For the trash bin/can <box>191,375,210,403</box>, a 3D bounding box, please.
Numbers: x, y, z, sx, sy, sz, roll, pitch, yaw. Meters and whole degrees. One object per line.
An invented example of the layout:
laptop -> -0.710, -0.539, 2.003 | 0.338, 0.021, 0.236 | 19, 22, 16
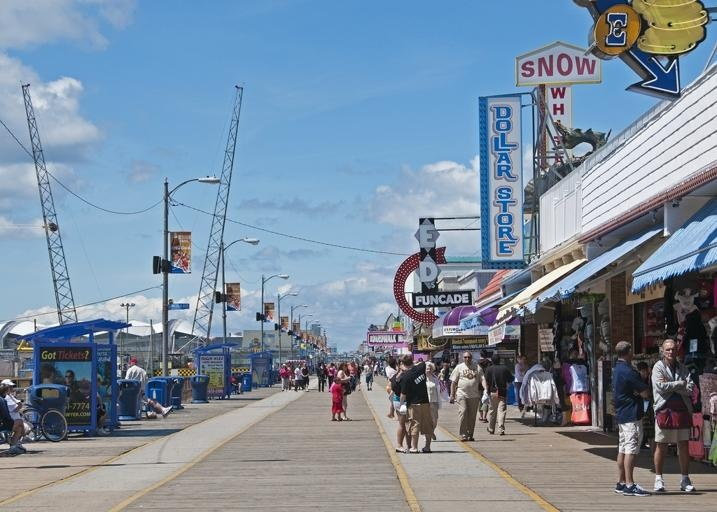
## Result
trash bin/can -> -6.836, 5.739, 53.473 | 0.723, 1.244, 1.154 | 0, -11, -10

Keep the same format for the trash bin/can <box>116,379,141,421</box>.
trash bin/can -> -7.522, 4.742, 40.644 | 0.702, 1.315, 1.207 | 1, -11, -12

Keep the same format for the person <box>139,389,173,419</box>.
person -> -6.884, 5.090, 42.076 | 1.615, 0.519, 0.856 | -9, -34, 26

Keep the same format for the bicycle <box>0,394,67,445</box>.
bicycle -> -8.607, 4.577, 33.220 | 1.801, 1.110, 0.913 | -5, 1, -15

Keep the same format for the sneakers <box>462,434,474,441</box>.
sneakers -> 2.832, 4.754, 32.525 | 0.354, 0.243, 0.120 | -2, 1, -5

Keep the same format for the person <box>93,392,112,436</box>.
person -> -7.427, 4.645, 36.097 | 0.384, 1.201, 1.420 | 1, -11, -11

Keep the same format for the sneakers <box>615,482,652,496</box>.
sneakers -> 5.425, 4.587, 24.440 | 0.651, 0.261, 0.242 | 1, 2, 1

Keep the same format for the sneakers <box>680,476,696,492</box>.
sneakers -> 6.540, 4.547, 24.585 | 0.301, 0.293, 0.260 | -2, -11, 4

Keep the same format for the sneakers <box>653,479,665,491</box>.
sneakers -> 5.977, 4.572, 24.642 | 0.191, 0.262, 0.316 | -4, -11, 13

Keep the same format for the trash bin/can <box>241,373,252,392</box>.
trash bin/can -> -6.161, 6.960, 68.371 | 0.835, 1.224, 0.872 | 0, -2, -8
